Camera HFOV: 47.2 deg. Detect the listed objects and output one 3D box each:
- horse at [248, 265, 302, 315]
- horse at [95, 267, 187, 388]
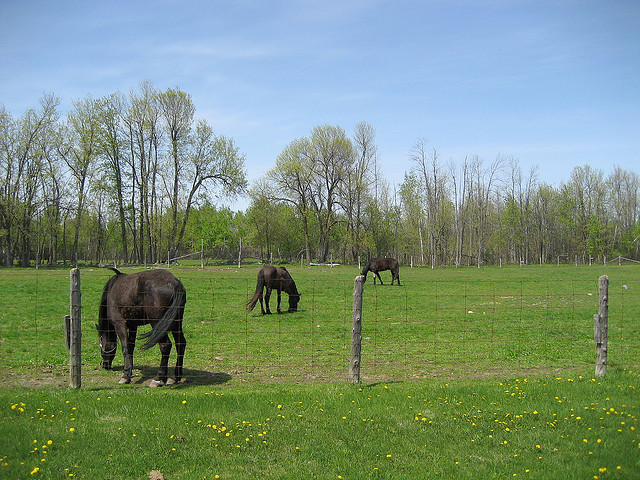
[{"bbox_3d":[-2.032,2.282,33.236,1.006,2.318,3.984,1,-6,27],"label":"horse"},{"bbox_3d":[-5.502,2.597,22.126,4.313,3.528,1.164,-7,-3,40],"label":"horse"}]
